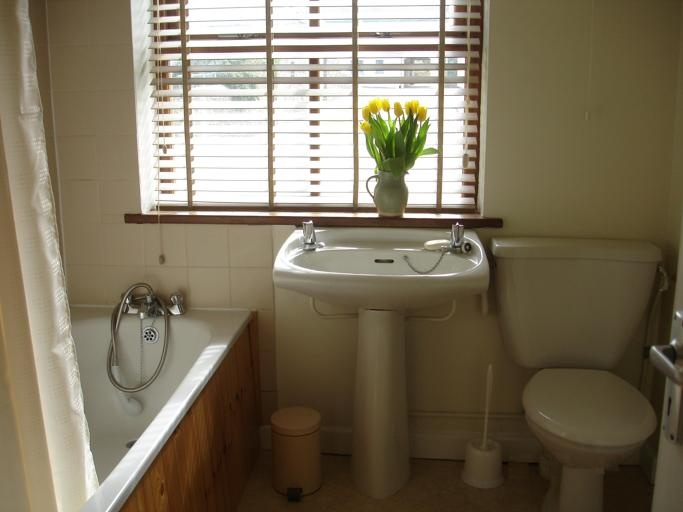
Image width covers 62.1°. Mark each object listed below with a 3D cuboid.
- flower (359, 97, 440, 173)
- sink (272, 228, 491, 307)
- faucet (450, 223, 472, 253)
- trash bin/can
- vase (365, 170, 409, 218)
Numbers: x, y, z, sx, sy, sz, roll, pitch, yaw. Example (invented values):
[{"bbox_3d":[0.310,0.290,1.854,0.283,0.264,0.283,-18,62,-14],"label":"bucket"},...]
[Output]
[{"bbox_3d":[0.243,-0.488,2.280,0.227,0.278,0.262,-2,7,-15],"label":"flower"},{"bbox_3d":[0.147,0.063,2.067,0.724,0.219,0.560,-1,17,8],"label":"sink"},{"bbox_3d":[0.425,-0.063,2.063,0.055,0.116,0.109,0,23,4],"label":"faucet"},{"bbox_3d":[-0.173,0.769,2.224,0.187,0.299,0.188,1,16,13],"label":"trash bin/can"},{"bbox_3d":[0.191,-0.254,2.330,0.170,0.190,0.137,6,10,38],"label":"vase"}]
